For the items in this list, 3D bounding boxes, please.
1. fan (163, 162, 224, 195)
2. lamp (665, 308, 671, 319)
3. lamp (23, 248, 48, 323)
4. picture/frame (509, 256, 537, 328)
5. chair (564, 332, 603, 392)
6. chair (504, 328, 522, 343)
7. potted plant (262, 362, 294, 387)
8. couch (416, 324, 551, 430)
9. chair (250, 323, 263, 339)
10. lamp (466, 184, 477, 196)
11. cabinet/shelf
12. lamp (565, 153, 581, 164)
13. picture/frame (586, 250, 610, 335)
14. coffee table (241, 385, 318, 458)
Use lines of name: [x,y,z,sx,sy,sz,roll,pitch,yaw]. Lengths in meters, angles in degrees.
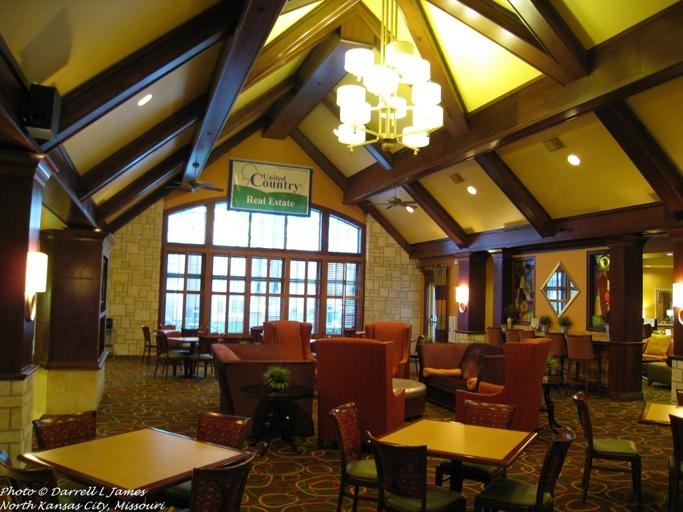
fan: [-2.997,-1.451,10.757,0.990,0.445,0.967,1,4,12]
lamp: [9.307,1.647,14.712,0.103,0.285,0.396,-4,-10,23]
lamp: [-2.855,0.289,4.870,0.128,0.640,0.392,3,-10,-23]
picture/frame: [4.366,0.815,12.425,0.232,1.654,0.748,3,-9,-20]
chair: [4.758,2.075,10.114,0.639,1.052,1.716,-4,-10,23]
chair: [3.638,1.703,11.028,0.331,0.361,0.292,2,1,-20]
potted plant: [-0.772,1.458,6.354,0.335,0.356,0.334,0,-5,-8]
couch: [2.131,1.642,7.416,1.352,1.433,1.631,10,-12,-39]
chair: [-1.870,1.773,11.702,0.233,0.306,0.400,2,-10,-14]
lamp: [2.777,-1.364,10.955,0.043,0.193,0.187,-38,36,-29]
cabinet/shelf: [-3.870,0.638,7.440,0.895,1.998,0.398,0,-9,0]
lamp: [3.928,-1.602,8.701,0.192,0.163,0.301,-5,-10,25]
picture/frame: [5.388,0.753,10.865,0.122,1.658,0.540,5,-10,-31]
coffee table: [-0.797,2.012,6.436,0.809,0.612,0.780,1,-7,-6]
